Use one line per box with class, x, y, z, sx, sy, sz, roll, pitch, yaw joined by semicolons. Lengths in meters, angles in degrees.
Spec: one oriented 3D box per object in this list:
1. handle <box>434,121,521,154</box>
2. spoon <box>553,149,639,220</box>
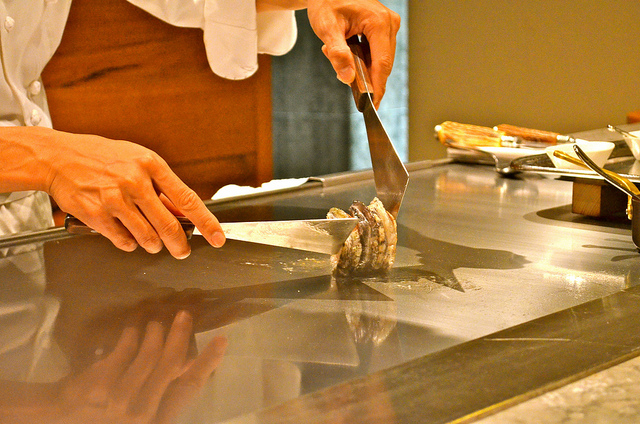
handle;0.468;-0.217;1.590;0.259;0.075;0.073;11;9;9
spoon;0.532;-0.051;1.012;0.061;0.092;0.242;-6;17;-7
